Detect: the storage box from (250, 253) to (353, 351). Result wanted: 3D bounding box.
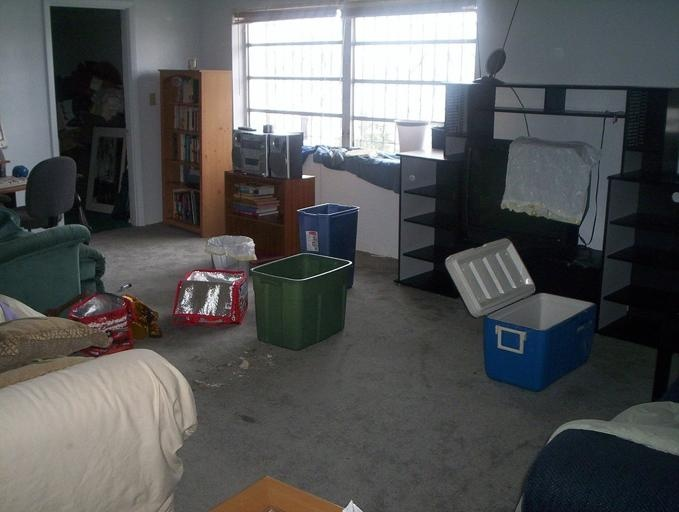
[{"bbox_3d":[-0.233,0.326,3.823,0.535,0.537,0.762,8,12,36],"label":"storage box"}]

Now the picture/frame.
[{"bbox_3d":[-3.172,-1.174,7.121,0.755,1.140,0.368,9,17,30],"label":"picture/frame"}]

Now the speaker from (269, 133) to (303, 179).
[{"bbox_3d":[-0.536,-0.992,5.166,0.337,0.434,0.168,-3,15,-9],"label":"speaker"}]

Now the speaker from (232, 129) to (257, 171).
[{"bbox_3d":[-0.944,-1.096,5.405,0.175,0.440,0.388,-14,20,-43],"label":"speaker"}]

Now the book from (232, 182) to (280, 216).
[{"bbox_3d":[-0.891,-0.576,5.401,0.462,0.300,0.324,7,12,41],"label":"book"}]

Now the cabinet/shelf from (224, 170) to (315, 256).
[{"bbox_3d":[-0.804,-0.441,5.460,0.984,0.837,0.537,10,18,32],"label":"cabinet/shelf"}]

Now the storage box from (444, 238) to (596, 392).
[{"bbox_3d":[1.107,0.344,3.411,0.993,0.952,0.920,-16,16,-40],"label":"storage box"}]

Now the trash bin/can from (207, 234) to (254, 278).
[{"bbox_3d":[-0.982,-0.054,4.775,0.461,0.407,0.402,12,16,43],"label":"trash bin/can"}]

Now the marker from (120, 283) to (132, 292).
[{"bbox_3d":[-1.850,0.274,4.496,0.119,0.048,0.031,-13,16,-6],"label":"marker"}]
